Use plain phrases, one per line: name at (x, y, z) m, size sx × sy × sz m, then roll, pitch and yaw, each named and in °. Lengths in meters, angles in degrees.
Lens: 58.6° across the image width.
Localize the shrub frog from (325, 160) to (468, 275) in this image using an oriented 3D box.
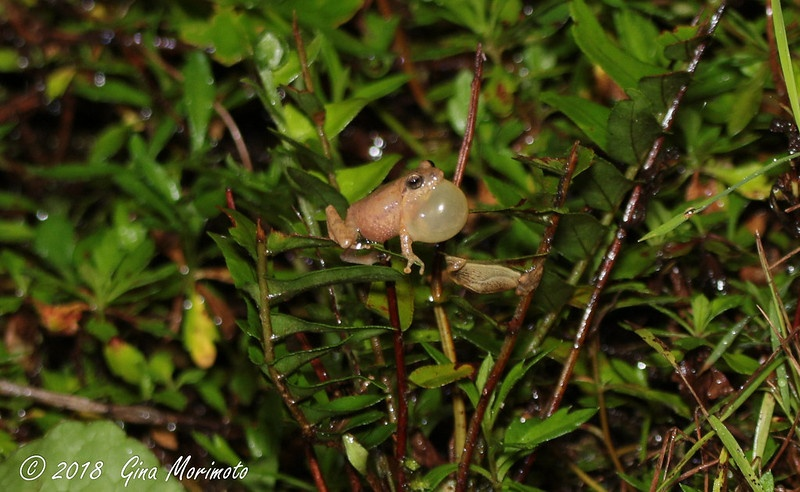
shrub frog at (-0.010, -0.046, 1.463) m, size 0.297 × 0.108 × 0.198 m, roll -11°, pitch 57°, yaw 2°
